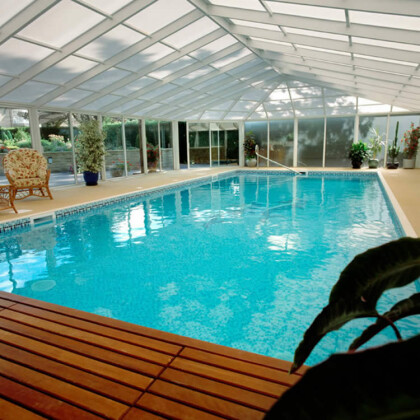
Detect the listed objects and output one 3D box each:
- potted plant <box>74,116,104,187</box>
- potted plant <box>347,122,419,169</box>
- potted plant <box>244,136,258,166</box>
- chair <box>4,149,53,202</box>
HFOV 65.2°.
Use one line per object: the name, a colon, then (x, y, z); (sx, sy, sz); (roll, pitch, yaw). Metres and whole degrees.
potted plant: (-4.483, -2.094, 12.133); (0.980, 2.475, 0.713); (1, 11, 22)
potted plant: (9.525, -3.435, 17.728); (3.185, 2.465, 1.576); (2, 11, 29)
potted plant: (2.551, -3.663, 20.729); (0.853, 1.883, 0.975); (-2, 10, 7)
chair: (-5.182, -1.005, 9.272); (1.021, 1.482, 2.314); (-8, 11, -26)
